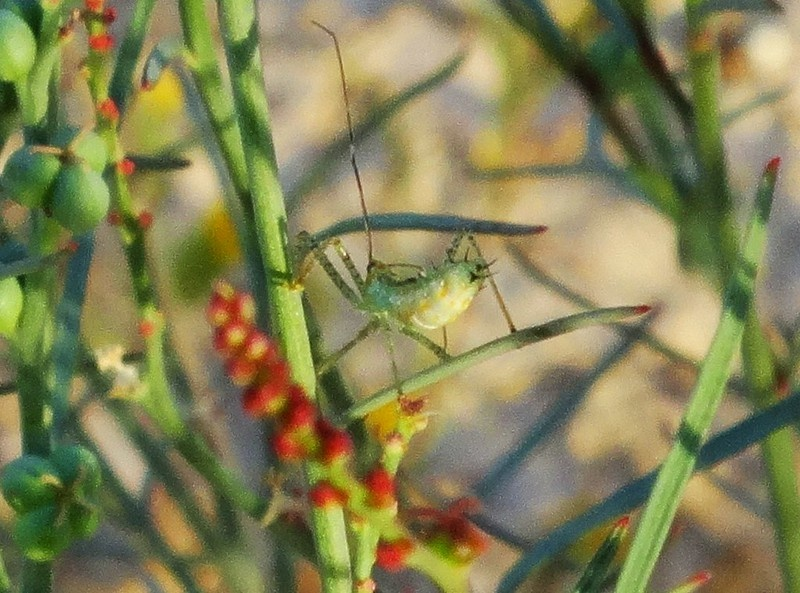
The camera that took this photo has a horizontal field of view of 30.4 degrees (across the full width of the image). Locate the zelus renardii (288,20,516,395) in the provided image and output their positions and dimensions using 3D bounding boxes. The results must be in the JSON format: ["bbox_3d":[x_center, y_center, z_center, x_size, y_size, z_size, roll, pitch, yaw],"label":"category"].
[{"bbox_3d":[0.000,-0.052,1.193,0.136,0.224,0.167,-20,28,-41],"label":"zelus renardii"}]

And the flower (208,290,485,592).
[{"bbox_3d":[-0.043,0.105,1.124,0.224,0.235,0.125,2,-11,2],"label":"flower"}]

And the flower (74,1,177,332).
[{"bbox_3d":[-0.207,-0.094,1.086,0.045,0.287,0.030,5,19,31],"label":"flower"}]
